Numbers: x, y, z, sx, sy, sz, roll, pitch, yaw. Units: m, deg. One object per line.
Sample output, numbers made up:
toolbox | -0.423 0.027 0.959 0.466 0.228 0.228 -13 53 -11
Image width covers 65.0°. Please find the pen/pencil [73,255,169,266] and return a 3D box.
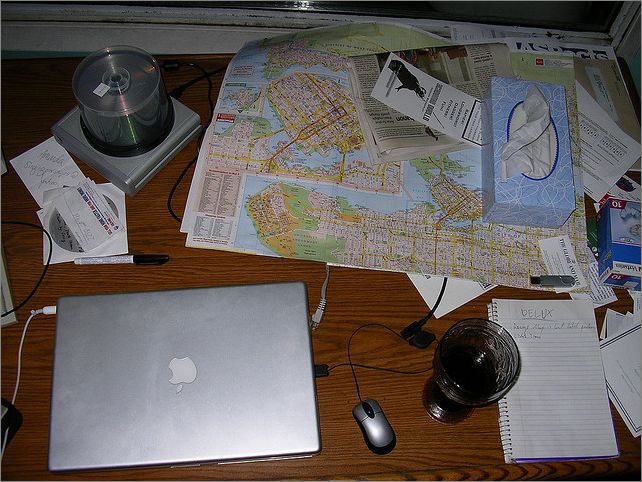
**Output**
pen/pencil | -0.474 0.046 1.208 0.244 0.025 0.019 0 85 -2

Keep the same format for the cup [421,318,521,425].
cup | 0.317 0.283 1.098 0.205 0.152 0.168 -25 60 -22

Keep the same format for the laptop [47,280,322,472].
laptop | -0.289 0.285 1.081 0.554 0.182 0.337 -1 54 -6

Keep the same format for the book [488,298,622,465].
book | 0.525 0.301 1.087 0.249 0.049 0.310 -2 69 1

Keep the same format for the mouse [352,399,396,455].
mouse | 0.116 0.393 1.072 0.075 0.035 0.115 -12 60 -13
